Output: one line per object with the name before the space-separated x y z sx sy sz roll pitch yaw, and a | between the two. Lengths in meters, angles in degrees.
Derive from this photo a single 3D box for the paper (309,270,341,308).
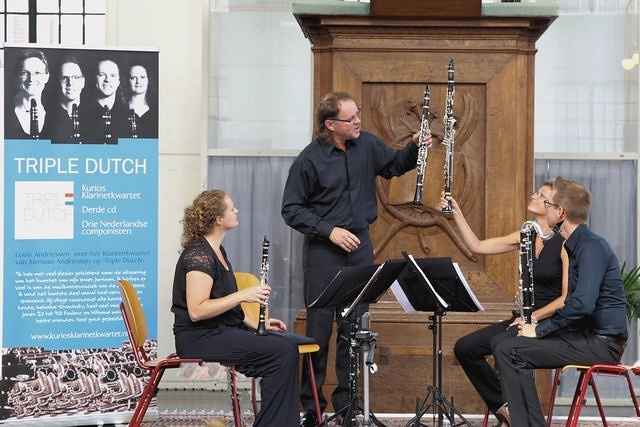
paper | 0.043 0.633 9.834 0.072 0.297 0.295 21 -2 24

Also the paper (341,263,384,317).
paper | 0.349 0.629 9.881 0.356 0.440 0.244 -2 3 0

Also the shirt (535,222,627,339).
shirt | 2.201 0.640 10.382 0.818 1.009 1.076 -1 -5 12

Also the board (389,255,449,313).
board | 0.850 0.586 10.175 0.439 0.532 0.430 -2 2 -13

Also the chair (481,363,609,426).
chair | 1.956 1.646 10.520 0.890 0.790 0.720 0 -13 1

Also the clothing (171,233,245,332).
clothing | -0.972 0.604 10.370 0.664 1.035 1.069 -1 -4 3

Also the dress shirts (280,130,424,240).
dress shirts | 0.248 -0.256 10.638 1.529 1.059 0.841 -4 4 -21
